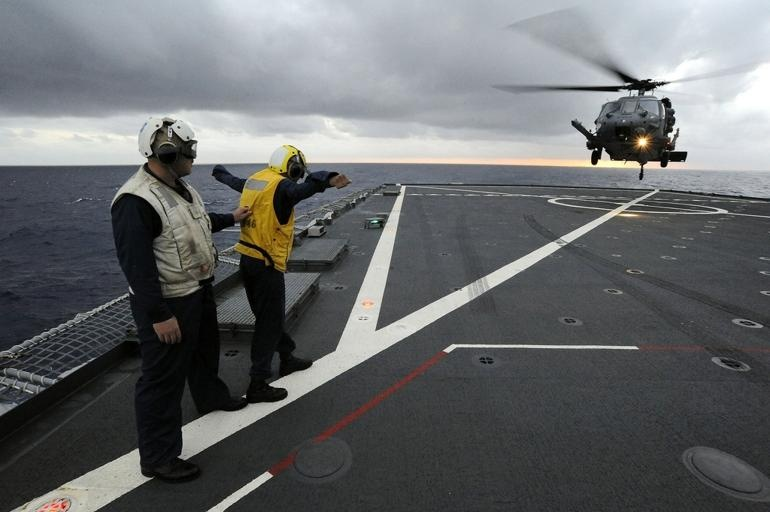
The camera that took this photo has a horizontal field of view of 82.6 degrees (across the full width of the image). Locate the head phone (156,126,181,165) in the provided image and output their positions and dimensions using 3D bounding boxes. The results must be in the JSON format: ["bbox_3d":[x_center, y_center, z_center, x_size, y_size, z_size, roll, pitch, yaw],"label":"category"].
[{"bbox_3d":[-2.270,-1.162,4.588,0.298,0.279,0.288,-11,38,-43],"label":"head phone"}]

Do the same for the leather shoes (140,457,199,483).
[{"bbox_3d":[-2.214,2.214,4.562,0.529,0.195,0.240,1,3,-5],"label":"leather shoes"}]

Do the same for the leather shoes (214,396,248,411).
[{"bbox_3d":[-1.820,1.760,5.222,0.262,0.058,0.183,2,8,5],"label":"leather shoes"}]

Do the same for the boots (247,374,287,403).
[{"bbox_3d":[-1.442,1.636,5.400,0.535,0.275,0.240,-1,4,-5],"label":"boots"}]
